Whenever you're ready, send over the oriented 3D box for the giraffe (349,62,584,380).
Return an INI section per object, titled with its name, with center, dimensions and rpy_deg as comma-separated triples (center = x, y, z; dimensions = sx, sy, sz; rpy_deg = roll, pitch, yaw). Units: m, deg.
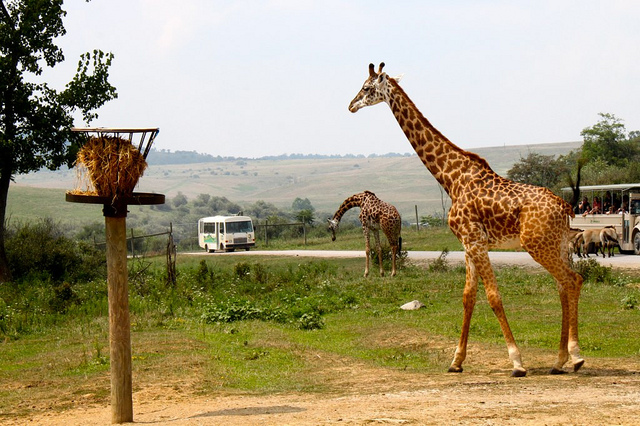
[giraffe]
center = 4.567, 0.240, 24.653
dimensions = 5.464, 7.992, 2.268
rpy_deg = 0, 8, 15
